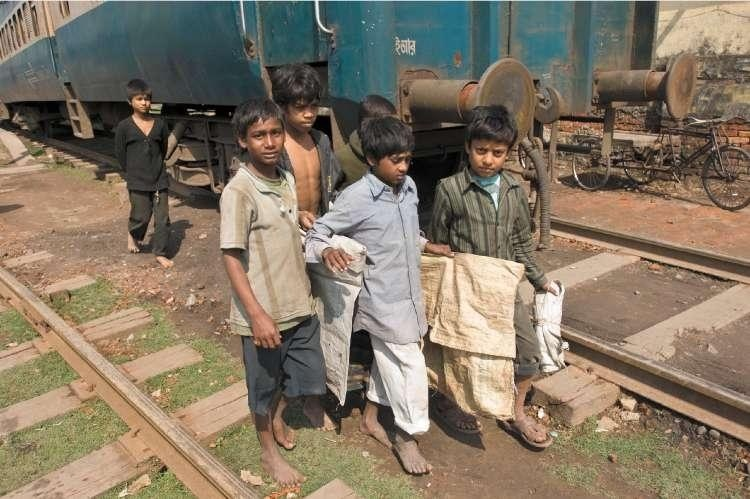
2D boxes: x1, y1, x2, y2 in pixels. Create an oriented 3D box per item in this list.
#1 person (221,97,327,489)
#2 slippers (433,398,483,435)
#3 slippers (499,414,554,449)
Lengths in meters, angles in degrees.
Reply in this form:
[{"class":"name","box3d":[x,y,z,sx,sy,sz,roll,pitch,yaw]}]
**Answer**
[{"class":"person","box3d":[-0.640,0.316,2.837,0.552,2.298,0.862,-11,26,-13]},{"class":"slippers","box3d":[0.584,1.202,3.466,0.155,0.169,0.428,-27,20,-21]},{"class":"slippers","box3d":[1.093,1.266,3.292,0.144,0.132,0.381,-46,23,-9]}]
